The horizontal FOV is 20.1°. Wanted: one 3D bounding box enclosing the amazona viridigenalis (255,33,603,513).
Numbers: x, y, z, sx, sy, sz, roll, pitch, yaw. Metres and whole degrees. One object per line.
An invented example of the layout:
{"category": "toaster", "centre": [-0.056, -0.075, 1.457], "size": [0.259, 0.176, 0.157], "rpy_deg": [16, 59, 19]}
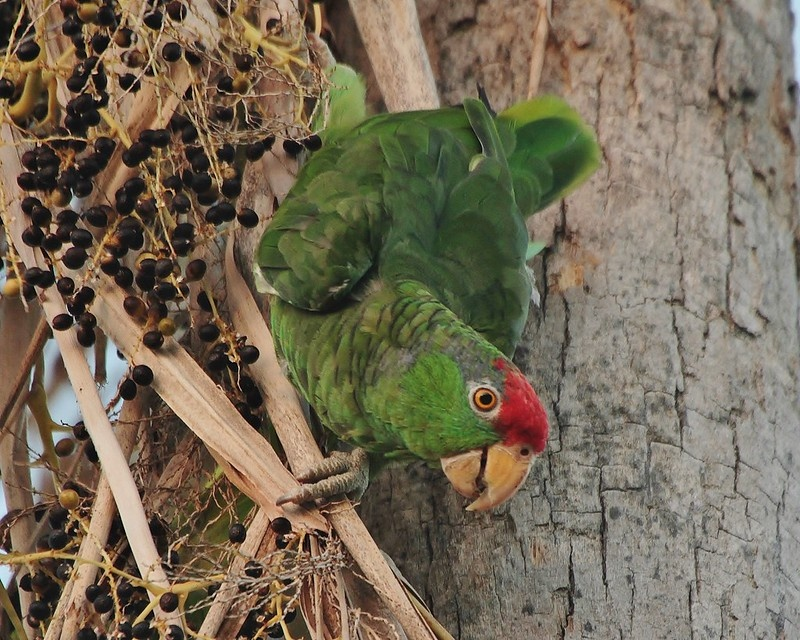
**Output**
{"category": "amazona viridigenalis", "centre": [0.068, -0.089, 6.609], "size": [0.857, 0.470, 0.948], "rpy_deg": [-61, 32, 2]}
